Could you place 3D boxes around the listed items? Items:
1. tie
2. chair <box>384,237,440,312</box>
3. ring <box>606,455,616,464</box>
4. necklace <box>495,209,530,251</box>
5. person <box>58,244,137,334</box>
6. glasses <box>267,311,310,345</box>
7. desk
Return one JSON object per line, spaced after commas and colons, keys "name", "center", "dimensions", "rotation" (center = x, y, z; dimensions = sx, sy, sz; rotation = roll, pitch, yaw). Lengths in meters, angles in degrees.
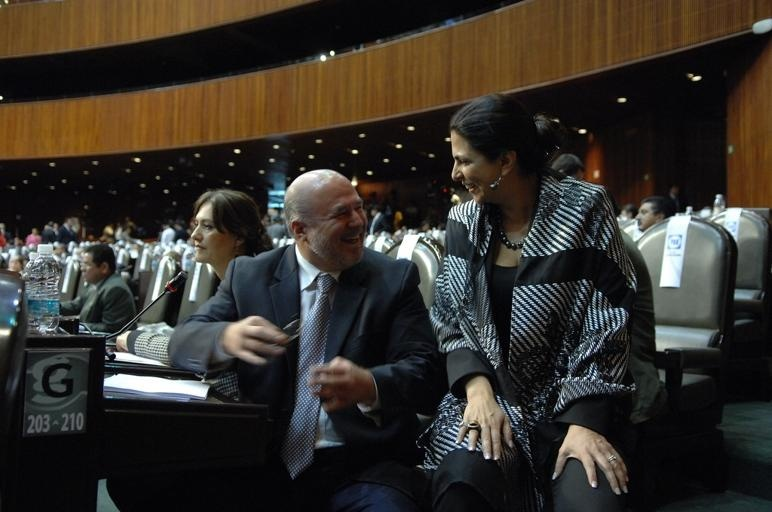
{"name": "tie", "center": [-0.253, 0.396, 2.050], "dimensions": [0.175, 0.673, 0.082], "rotation": [0, -4, -8]}
{"name": "chair", "center": [0.179, 0.073, 3.119], "dimensions": [0.280, 0.411, 0.325], "rotation": [-7, -17, 35]}
{"name": "ring", "center": [0.688, 0.617, 1.861], "dimensions": [0.027, 0.021, 0.016], "rotation": [-2, -5, 13]}
{"name": "necklace", "center": [0.451, -0.089, 2.253], "dimensions": [0.080, 0.133, 0.026], "rotation": [-29, -17, 23]}
{"name": "person", "center": [-2.523, 0.288, 5.383], "dimensions": [0.487, 0.920, 0.487], "rotation": [8, -21, -33]}
{"name": "glasses", "center": [-0.296, 0.238, 2.011], "dimensions": [0.060, 0.072, 0.076], "rotation": [15, -28, -41]}
{"name": "desk", "center": [-0.694, 0.426, 1.857], "dimensions": [0.510, 0.405, 0.502], "rotation": [1, -4, -12]}
